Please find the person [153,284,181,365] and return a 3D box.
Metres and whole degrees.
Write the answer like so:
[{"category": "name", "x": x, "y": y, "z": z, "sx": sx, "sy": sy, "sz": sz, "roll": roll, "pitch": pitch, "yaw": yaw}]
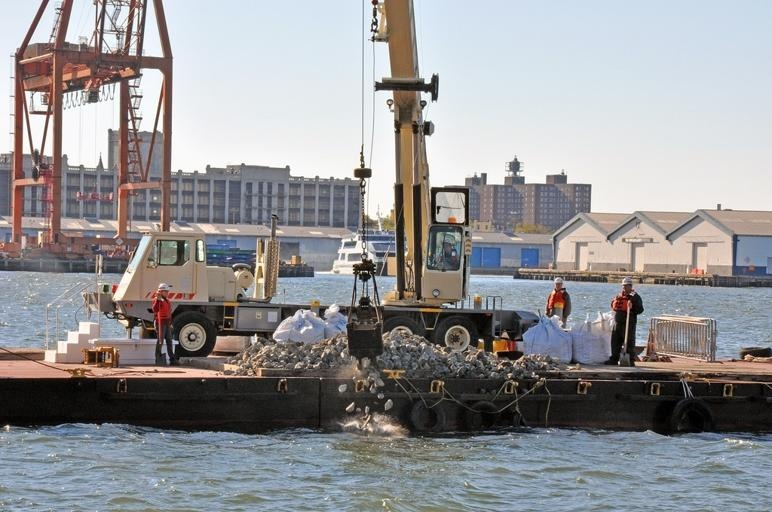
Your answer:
[{"category": "person", "x": -10.293, "y": 3.241, "z": 91.091, "sx": 1.099, "sy": 3.757, "sz": 0.767, "roll": 3, "pitch": -4, "yaw": -44}]
